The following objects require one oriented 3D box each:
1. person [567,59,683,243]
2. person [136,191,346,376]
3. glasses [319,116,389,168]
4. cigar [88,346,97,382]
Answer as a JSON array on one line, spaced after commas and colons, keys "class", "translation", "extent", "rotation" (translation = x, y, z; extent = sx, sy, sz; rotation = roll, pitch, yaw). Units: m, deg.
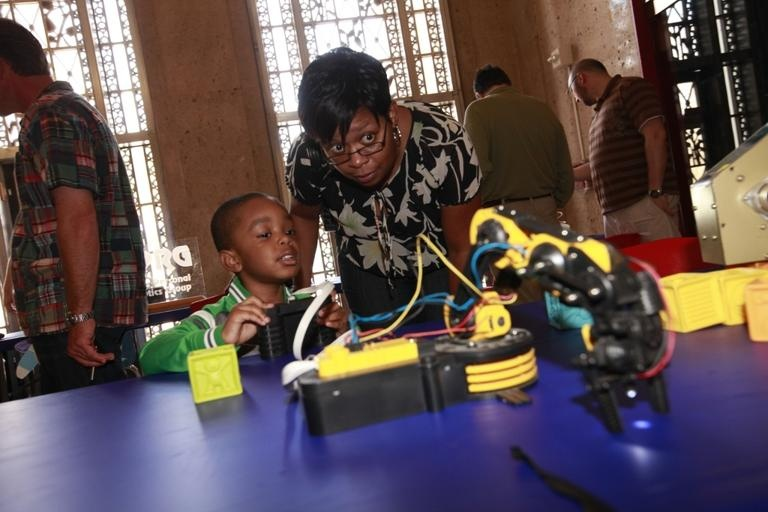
[{"class": "person", "translation": [1.357, -0.631, 3.208], "extent": [0.261, 1.085, 0.556], "rotation": [-12, 5, -34]}, {"class": "person", "translation": [-0.389, 0.055, 1.833], "extent": [0.414, 0.519, 0.822], "rotation": [-17, -2, 38]}, {"class": "glasses", "translation": [-0.074, -0.303, 1.519], "extent": [0.183, 0.092, 0.083], "rotation": [-9, 5, 2]}, {"class": "cigar", "translation": [-0.930, 0.358, 1.803], "extent": [0.010, 0.091, 0.012], "rotation": [3, 17, -5]}]
